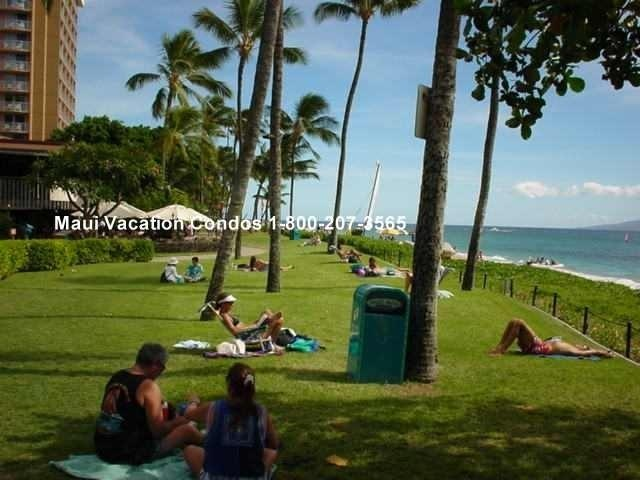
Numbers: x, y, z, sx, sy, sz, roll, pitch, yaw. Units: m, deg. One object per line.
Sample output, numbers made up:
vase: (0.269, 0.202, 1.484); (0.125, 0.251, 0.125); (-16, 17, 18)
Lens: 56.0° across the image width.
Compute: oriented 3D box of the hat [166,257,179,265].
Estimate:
hat: (-6.304, 0.919, 25.821); (0.388, 0.171, 0.452); (1, -1, 9)

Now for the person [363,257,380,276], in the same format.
person: (2.333, 1.232, 26.393); (0.668, 0.784, 1.452); (6, 1, 2)

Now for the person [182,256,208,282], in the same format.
person: (-4.759, 1.137, 23.020); (0.897, 1.296, 0.942); (1, 0, 1)

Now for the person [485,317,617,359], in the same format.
person: (4.715, 2.215, 12.550); (1.625, 0.550, 1.164); (3, -15, 7)

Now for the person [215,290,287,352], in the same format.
person: (-1.470, 1.684, 12.208); (1.297, 1.299, 1.058); (-4, -4, -9)

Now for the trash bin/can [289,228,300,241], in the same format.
trash bin/can: (-2.424, -0.474, 58.528); (0.973, 1.024, 0.861); (-1, 1, -10)

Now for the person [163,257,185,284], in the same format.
person: (-5.438, 1.158, 22.258); (0.871, 0.777, 0.716); (6, 1, 2)

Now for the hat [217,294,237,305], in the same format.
hat: (-1.816, 1.224, 11.918); (0.294, 0.098, 0.217); (-6, 2, -3)

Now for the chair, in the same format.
chair: (-1.545, 1.651, 12.064); (1.445, 1.165, 0.848); (-2, 10, -6)
